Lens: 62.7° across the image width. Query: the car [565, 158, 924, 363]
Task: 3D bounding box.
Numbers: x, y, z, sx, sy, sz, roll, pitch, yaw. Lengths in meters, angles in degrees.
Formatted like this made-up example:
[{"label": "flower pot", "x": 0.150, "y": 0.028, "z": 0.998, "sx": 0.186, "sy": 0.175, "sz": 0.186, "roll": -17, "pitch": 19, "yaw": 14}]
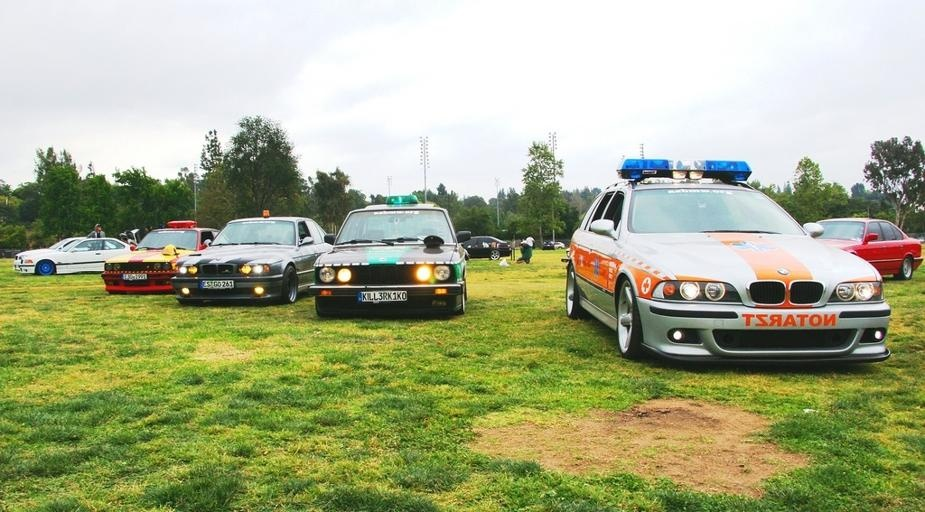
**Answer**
[{"label": "car", "x": 3.854, "y": -0.046, "z": 12.413, "sx": 3.303, "sy": 2.257, "sz": 6.170, "roll": 0, "pitch": 0, "yaw": -4}]
